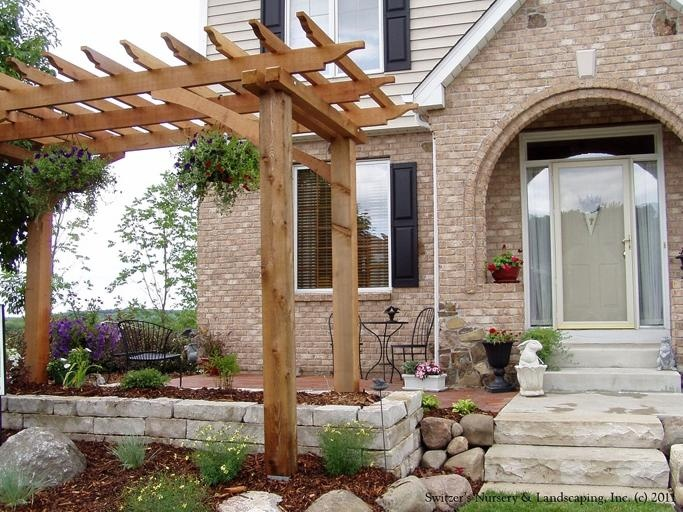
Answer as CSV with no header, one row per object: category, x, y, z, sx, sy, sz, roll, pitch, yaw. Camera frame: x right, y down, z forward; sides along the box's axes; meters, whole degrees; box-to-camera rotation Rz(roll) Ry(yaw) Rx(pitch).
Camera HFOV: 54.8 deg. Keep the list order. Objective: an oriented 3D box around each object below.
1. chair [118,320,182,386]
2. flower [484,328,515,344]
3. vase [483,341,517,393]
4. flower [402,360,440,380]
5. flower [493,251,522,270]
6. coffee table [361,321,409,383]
chair,-2.853,1.317,9.482,0.685,1.094,0.758,4,17,-8
flower,2.147,1.091,8.999,0.253,0.142,0.265,2,-3,-2
vase,2.155,1.502,9.041,0.381,0.686,0.446,-2,-6,4
flower,1.106,1.580,9.110,0.526,0.239,0.309,-7,-8,39
flower,2.406,0.063,9.647,0.375,0.251,0.249,0,-6,-14
coffee table,0.687,1.449,10.482,0.603,0.746,0.600,2,1,-39
